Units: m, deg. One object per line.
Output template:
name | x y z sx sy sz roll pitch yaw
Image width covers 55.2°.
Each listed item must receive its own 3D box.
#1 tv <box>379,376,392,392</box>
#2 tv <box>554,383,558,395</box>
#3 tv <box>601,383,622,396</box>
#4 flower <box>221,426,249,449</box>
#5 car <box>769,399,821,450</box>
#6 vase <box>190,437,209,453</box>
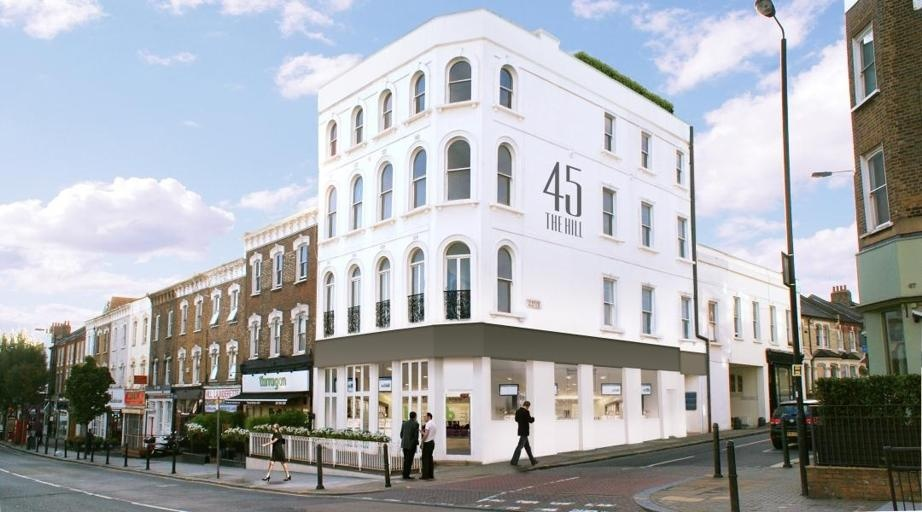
tv | -4.290 7.352 50.689 0.149 0.792 0.972 3 -4 -38
tv | 5.500 7.606 50.481 0.075 0.705 0.345 -2 3 27
tv | 9.039 7.968 52.937 1.680 0.853 0.118 -4 2 -34
flower | -13.869 11.190 54.445 1.702 0.952 1.782 -6 -14 41
car | 19.447 9.193 48.708 2.681 2.525 5.266 -9 -10 43
vase | -16.810 12.161 56.902 1.116 0.981 0.567 -6 -15 14
